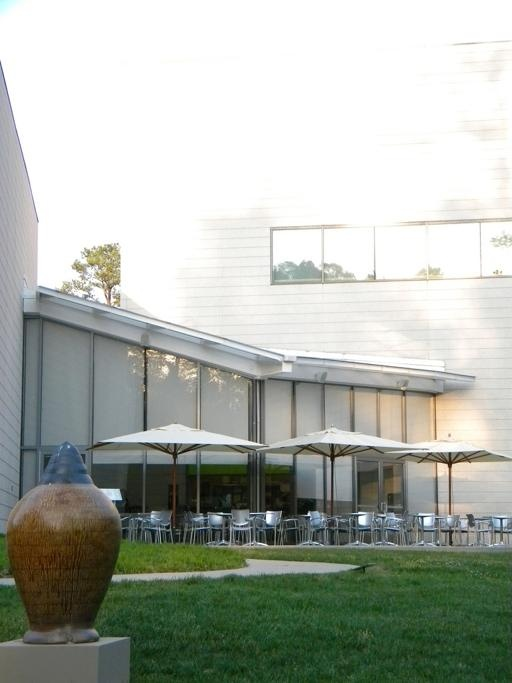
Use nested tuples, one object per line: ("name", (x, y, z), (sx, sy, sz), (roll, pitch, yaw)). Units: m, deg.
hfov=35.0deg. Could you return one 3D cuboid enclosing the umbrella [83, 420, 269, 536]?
("umbrella", (-1.742, 2.826, 17.098), (3.299, 2.195, 3.218), (8, -12, -30))
